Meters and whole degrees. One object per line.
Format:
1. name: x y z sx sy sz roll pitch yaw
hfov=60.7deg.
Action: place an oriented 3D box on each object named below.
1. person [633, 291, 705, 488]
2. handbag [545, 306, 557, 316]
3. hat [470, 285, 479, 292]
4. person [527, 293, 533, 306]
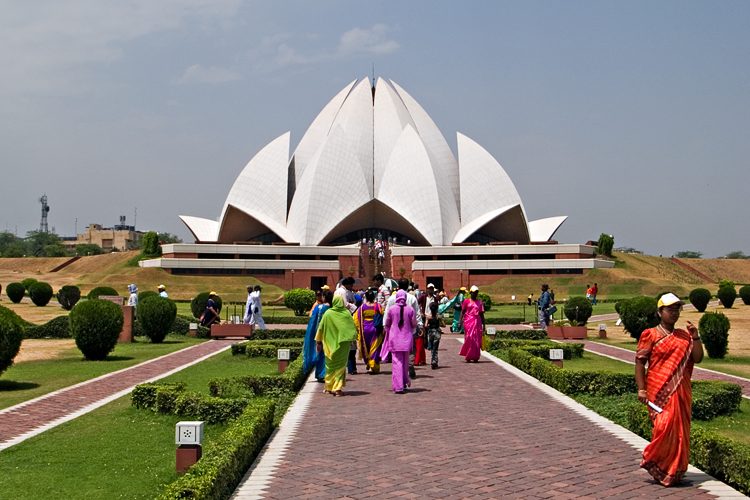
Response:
1. person: 3.091 1.432 6.728 0.633 1.960 0.367 1 -1 -11
2. handbag: 5.076 1.699 18.361 0.231 0.321 0.424 -3 2 -5
3. hat: 2.101 0.806 13.465 0.221 0.128 0.342 0 -5 0
4. person: 9.338 2.936 38.344 0.308 0.331 0.943 19 -8 12
